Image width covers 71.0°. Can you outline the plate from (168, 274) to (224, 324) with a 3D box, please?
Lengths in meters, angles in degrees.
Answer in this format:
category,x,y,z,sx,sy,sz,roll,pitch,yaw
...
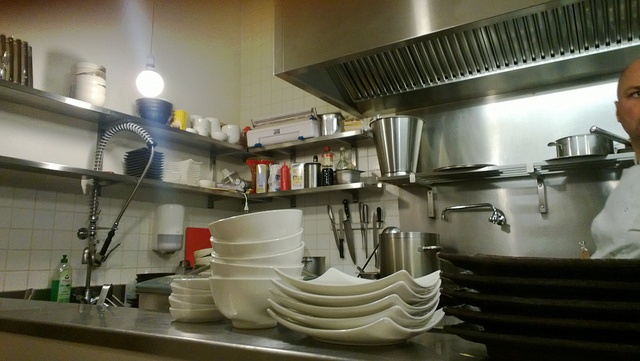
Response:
category,x,y,z,sx,sy,sz,roll,pitch,yaw
plate,-0.609,0.570,2.167,0.247,0.151,0.237,-7,-16,28

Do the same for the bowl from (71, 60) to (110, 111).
category,x,y,z,sx,sy,sz,roll,pitch,yaw
bowl,-1.912,-0.768,3.871,0.365,0.478,0.365,2,-6,0

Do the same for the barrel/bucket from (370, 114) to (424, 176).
category,x,y,z,sx,sy,sz,roll,pitch,yaw
barrel/bucket,0.669,-0.269,3.934,0.536,0.470,0.522,-1,-8,0

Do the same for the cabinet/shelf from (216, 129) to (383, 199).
category,x,y,z,sx,sy,sz,roll,pitch,yaw
cabinet/shelf,-0.154,-0.027,5.037,1.372,0.362,0.350,16,-4,-21

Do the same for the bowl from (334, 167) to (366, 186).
category,x,y,z,sx,sy,sz,roll,pitch,yaw
bowl,0.266,-0.035,4.233,0.196,0.079,0.168,-10,-16,38

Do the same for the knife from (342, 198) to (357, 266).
category,x,y,z,sx,sy,sz,roll,pitch,yaw
knife,0.290,0.507,4.357,0.034,0.624,0.118,-22,-20,39

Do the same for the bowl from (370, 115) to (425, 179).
category,x,y,z,sx,sy,sz,roll,pitch,yaw
bowl,0.658,-0.271,3.924,0.517,0.458,0.503,-2,-9,0

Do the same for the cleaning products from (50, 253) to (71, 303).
category,x,y,z,sx,sy,sz,roll,pitch,yaw
cleaning products,-2.120,0.799,3.674,0.158,0.383,0.165,0,-7,-28

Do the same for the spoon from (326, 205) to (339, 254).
category,x,y,z,sx,sy,sz,roll,pitch,yaw
spoon,0.135,0.484,4.477,0.090,0.485,0.205,-2,-6,-7

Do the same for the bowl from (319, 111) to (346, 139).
category,x,y,z,sx,sy,sz,roll,pitch,yaw
bowl,0.068,-0.588,4.515,0.321,0.229,0.235,4,25,4

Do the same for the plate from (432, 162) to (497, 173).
category,x,y,z,sx,sy,sz,roll,pitch,yaw
plate,1.135,-0.096,3.544,0.421,0.050,0.061,-3,-6,8

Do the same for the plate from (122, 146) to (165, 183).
category,x,y,z,sx,sy,sz,roll,pitch,yaw
plate,-1.542,-0.152,3.984,0.370,0.165,0.265,2,-7,-30

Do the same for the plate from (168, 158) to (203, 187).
category,x,y,z,sx,sy,sz,roll,pitch,yaw
plate,-1.268,-0.071,4.219,0.256,0.123,0.293,-8,-10,37

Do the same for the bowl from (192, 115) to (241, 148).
category,x,y,z,sx,sy,sz,roll,pitch,yaw
bowl,-1.061,-0.517,4.635,0.434,0.155,0.261,30,-22,-33

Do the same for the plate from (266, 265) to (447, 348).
category,x,y,z,sx,sy,sz,roll,pitch,yaw
plate,0.149,0.548,1.990,0.774,0.331,0.245,-3,-6,8

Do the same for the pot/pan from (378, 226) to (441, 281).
category,x,y,z,sx,sy,sz,roll,pitch,yaw
pot/pan,0.680,0.594,3.610,0.587,0.369,0.415,1,-10,2

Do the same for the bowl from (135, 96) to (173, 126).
category,x,y,z,sx,sy,sz,roll,pitch,yaw
bowl,-1.490,-0.636,4.051,0.300,0.173,0.276,0,-10,0

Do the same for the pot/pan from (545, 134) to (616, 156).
category,x,y,z,sx,sy,sz,roll,pitch,yaw
pot/pan,1.947,-0.249,3.388,0.370,0.134,0.446,-3,-1,-32
